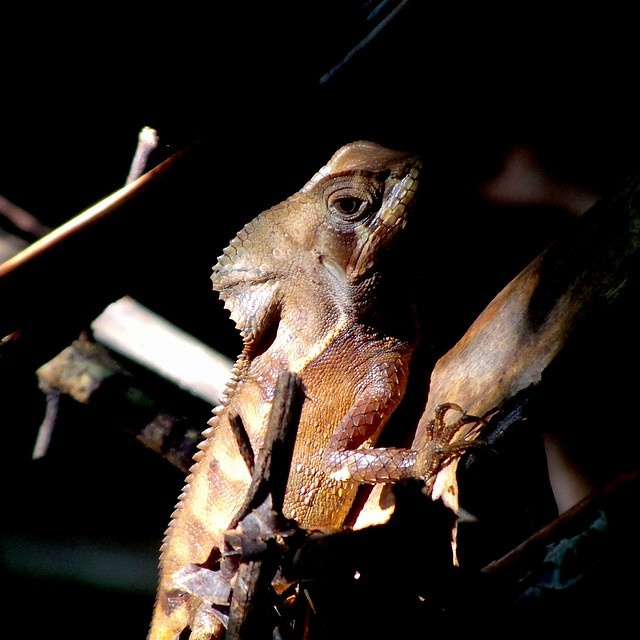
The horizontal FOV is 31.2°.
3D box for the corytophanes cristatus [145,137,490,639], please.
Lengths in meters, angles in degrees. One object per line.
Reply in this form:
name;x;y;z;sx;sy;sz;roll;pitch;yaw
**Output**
corytophanes cristatus;-0.083;0.330;4.373;1.151;2.148;0.353;28;-2;31
